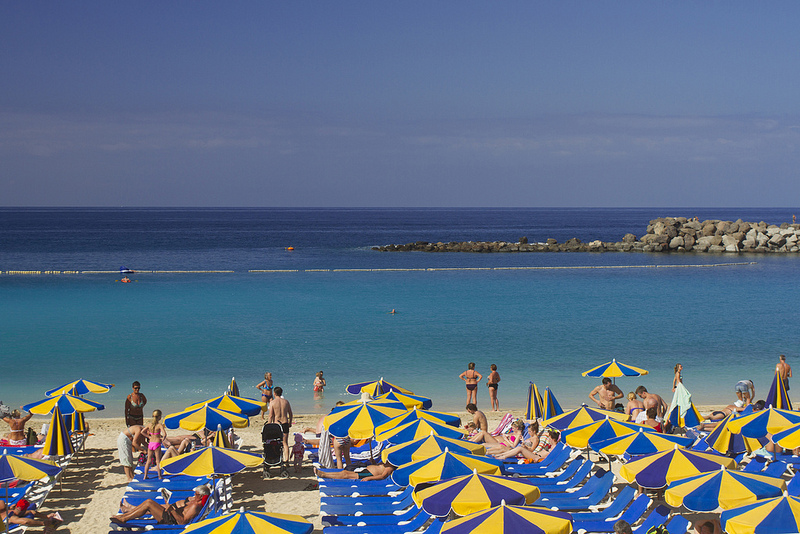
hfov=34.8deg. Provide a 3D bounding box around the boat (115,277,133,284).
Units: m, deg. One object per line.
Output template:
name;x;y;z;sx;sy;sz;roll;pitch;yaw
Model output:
boat;-20.529;1.026;95.961;0.687;0.434;0.965;0;2;-39

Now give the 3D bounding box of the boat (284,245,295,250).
boat;-11.869;-1.972;138.772;0.785;0.361;1.087;1;5;7
